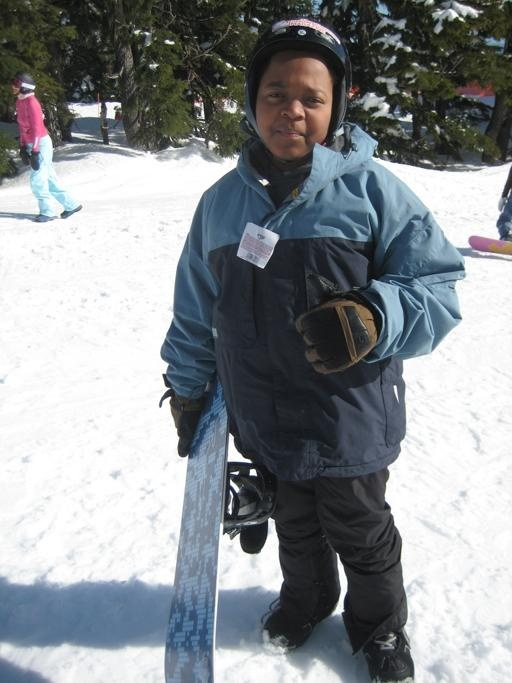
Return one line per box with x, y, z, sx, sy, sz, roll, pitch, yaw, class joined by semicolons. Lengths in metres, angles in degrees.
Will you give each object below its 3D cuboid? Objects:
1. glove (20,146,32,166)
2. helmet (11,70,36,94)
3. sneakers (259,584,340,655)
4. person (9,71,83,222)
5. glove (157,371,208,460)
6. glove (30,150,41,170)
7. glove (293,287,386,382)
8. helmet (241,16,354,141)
-2.877;-2.329;6.938;0.099;0.207;0.345;2;61;-26;glove
-2.844;-3.134;6.797;0.235;0.223;0.275;-8;28;-21;helmet
0.147;0.958;1.957;0.146;0.105;0.279;18;40;31;sneakers
-2.560;-2.343;6.750;0.562;1.582;1.160;-8;29;-20;person
-0.256;0.270;2.107;0.121;0.378;0.175;-1;-12;42;glove
-2.616;-2.149;6.596;0.077;0.274;0.087;-4;-7;7;glove
0.188;-0.016;1.255;0.086;0.145;0.198;-40;6;-8;glove
0.116;-0.726;1.544;0.301;0.303;0.195;3;27;1;helmet
